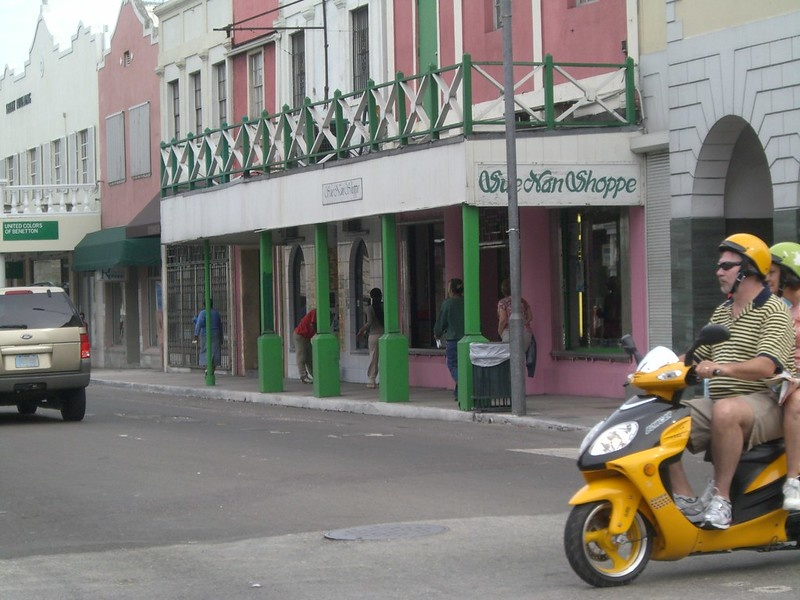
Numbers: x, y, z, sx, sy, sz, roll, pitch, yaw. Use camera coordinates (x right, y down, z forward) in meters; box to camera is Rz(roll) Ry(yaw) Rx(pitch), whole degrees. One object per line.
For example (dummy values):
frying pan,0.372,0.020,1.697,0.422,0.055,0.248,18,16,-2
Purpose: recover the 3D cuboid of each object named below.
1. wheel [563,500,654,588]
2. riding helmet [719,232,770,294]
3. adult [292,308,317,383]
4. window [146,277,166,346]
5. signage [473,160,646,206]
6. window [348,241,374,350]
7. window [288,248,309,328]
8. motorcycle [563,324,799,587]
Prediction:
wheel,1.566,1.880,10.322,0.704,0.643,0.516,-2,-1,-11
riding helmet,2.749,-0.297,10.839,0.424,0.556,0.419,5,-3,-10
adult,-1.957,1.031,27.825,0.458,1.553,0.879,0,32,2
window,-6.889,0.395,38.311,0.134,2.196,1.092,-3,0,19
signage,2.502,-1.775,20.826,2.897,0.629,0.274,-2,-1,-22
window,-0.923,-0.117,28.345,0.178,2.183,0.484,2,1,15
window,-2.281,-0.367,30.697,0.151,2.042,0.726,5,-12,-26
motorcycle,2.091,1.207,10.259,1.733,1.958,0.638,-2,-1,-21
